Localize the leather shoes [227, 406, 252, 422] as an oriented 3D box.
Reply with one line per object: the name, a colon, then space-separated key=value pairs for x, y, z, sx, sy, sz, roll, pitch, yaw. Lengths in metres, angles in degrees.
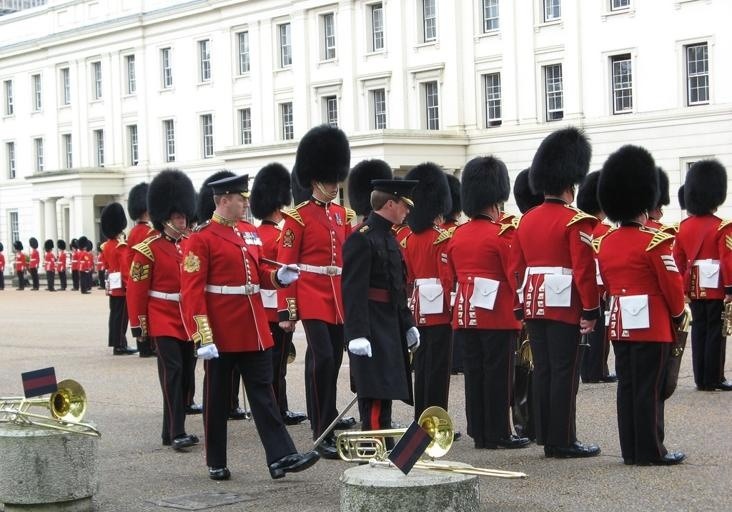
leather shoes: x=-1.292 y=1.625 z=12.394 sx=0.218 sy=0.121 sz=0.217 roll=-2 pitch=-1 yaw=-9

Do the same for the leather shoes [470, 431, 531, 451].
leather shoes: x=1.274 y=1.745 z=11.264 sx=0.552 sy=0.203 sz=0.169 roll=-3 pitch=1 yaw=-7

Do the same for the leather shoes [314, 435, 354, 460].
leather shoes: x=-0.277 y=1.715 z=10.768 sx=0.280 sy=0.202 sz=0.503 roll=3 pitch=-5 yaw=-36

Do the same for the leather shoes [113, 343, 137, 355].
leather shoes: x=-3.265 y=1.275 z=16.444 sx=0.332 sy=0.118 sz=0.120 roll=-1 pitch=8 yaw=-14

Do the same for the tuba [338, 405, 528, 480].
tuba: x=0.368 y=1.444 z=9.442 sx=1.253 sy=0.525 sz=1.459 roll=-2 pitch=-1 yaw=-13

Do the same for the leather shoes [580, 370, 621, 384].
leather shoes: x=2.628 y=1.371 z=13.635 sx=0.479 sy=0.165 sz=0.147 roll=-4 pitch=5 yaw=-15

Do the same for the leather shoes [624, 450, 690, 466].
leather shoes: x=2.549 y=1.785 z=10.570 sx=0.506 sy=0.127 sz=0.168 roll=-7 pitch=-2 yaw=2

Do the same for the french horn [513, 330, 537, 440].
french horn: x=1.427 y=1.242 z=11.294 sx=0.296 sy=0.908 sz=0.293 roll=6 pitch=16 yaw=25

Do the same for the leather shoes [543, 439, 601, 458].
leather shoes: x=1.848 y=1.757 z=10.885 sx=0.521 sy=0.168 sz=0.170 roll=-4 pitch=-2 yaw=-2

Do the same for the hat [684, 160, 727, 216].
hat: x=3.756 y=-0.777 z=13.382 sx=0.398 sy=0.671 sz=0.389 roll=-12 pitch=15 yaw=-34

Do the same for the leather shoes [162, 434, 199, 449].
leather shoes: x=-1.745 y=1.774 z=11.328 sx=0.351 sy=0.137 sz=0.130 roll=-17 pitch=-21 yaw=24

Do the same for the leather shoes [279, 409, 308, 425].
leather shoes: x=-0.706 y=1.637 z=12.215 sx=0.247 sy=0.141 sz=0.310 roll=-2 pitch=-1 yaw=8

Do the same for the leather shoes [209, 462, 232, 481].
leather shoes: x=-1.248 y=1.888 z=10.449 sx=0.100 sy=0.089 sz=0.215 roll=0 pitch=3 yaw=-29
